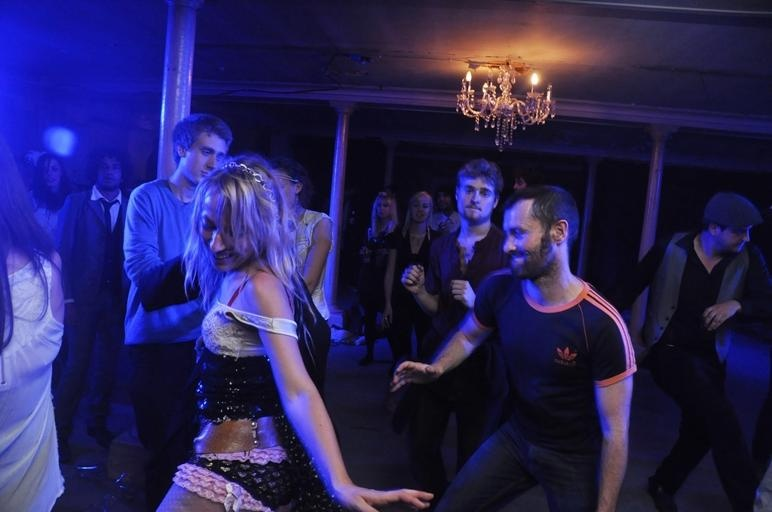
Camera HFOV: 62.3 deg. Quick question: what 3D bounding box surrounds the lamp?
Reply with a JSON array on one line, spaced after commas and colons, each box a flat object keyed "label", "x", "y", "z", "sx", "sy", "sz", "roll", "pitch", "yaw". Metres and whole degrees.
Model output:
[{"label": "lamp", "x": 1.679, "y": -2.154, "z": 8.987, "sx": 0.772, "sy": 0.824, "sz": 0.744, "roll": 24, "pitch": -2, "yaw": -32}]

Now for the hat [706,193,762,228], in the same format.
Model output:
[{"label": "hat", "x": 2.690, "y": -0.343, "z": 4.925, "sx": 0.312, "sy": 0.159, "sz": 0.317, "roll": 0, "pitch": 10, "yaw": 1}]
